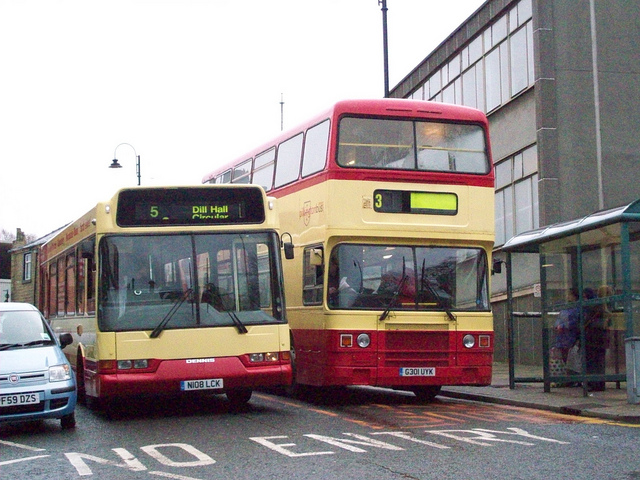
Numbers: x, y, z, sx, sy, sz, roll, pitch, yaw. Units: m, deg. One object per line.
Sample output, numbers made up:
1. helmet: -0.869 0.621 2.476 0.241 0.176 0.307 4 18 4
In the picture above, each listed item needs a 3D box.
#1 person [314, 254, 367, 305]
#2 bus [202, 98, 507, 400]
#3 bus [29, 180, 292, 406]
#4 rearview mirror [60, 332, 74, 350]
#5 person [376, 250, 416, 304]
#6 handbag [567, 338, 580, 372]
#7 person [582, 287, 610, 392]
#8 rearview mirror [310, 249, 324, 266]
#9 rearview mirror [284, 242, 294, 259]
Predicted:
1. person: 0.363 0.742 12.519 0.918 0.911 0.382 -4 -7 12
2. bus: 1.279 0.070 13.290 4.408 5.582 2.266 -3 -7 7
3. bus: -3.256 1.137 12.210 3.048 3.842 4.924 5 -10 -42
4. rearview mirror: -4.343 1.706 11.451 0.258 0.299 0.292 2 -1 -11
5. person: 1.433 0.695 12.438 0.735 1.154 0.359 -2 19 -6
6. handbag: 5.301 2.379 13.852 0.264 0.646 0.122 -5 -7 26
7. person: 5.586 1.801 13.359 0.483 1.704 0.353 -4 -7 19
8. rearview mirror: -0.041 0.292 12.543 0.238 0.286 0.335 -3 -24 18
9. rearview mirror: -0.545 0.176 12.100 0.145 0.310 0.267 -2 -7 -3
